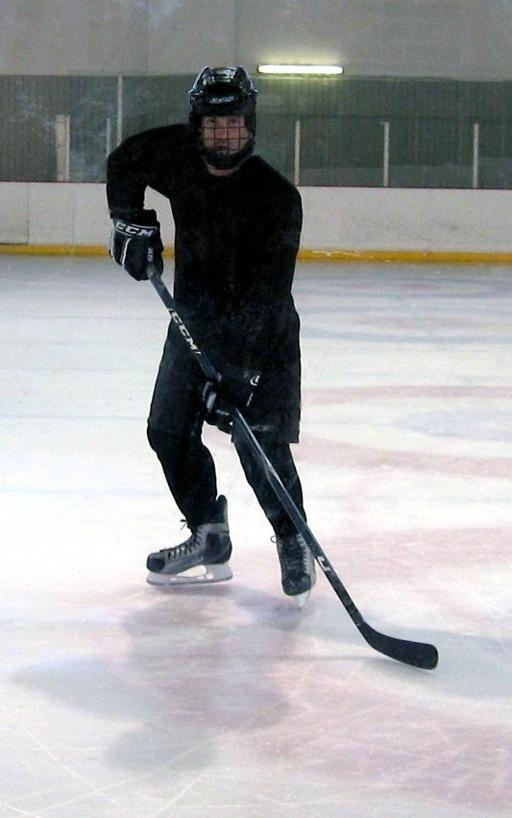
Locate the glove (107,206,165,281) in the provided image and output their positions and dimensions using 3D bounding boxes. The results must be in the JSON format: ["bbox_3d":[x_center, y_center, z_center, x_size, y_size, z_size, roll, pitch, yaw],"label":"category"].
[{"bbox_3d":[-0.235,-0.316,1.770,0.112,0.130,0.054,-11,30,-13],"label":"glove"}]

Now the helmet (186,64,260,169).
[{"bbox_3d":[-0.060,-0.509,1.620,0.116,0.180,0.097,1,13,-3],"label":"helmet"}]

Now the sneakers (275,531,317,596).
[{"bbox_3d":[0.072,0.282,1.701,0.048,0.052,0.131,-24,25,11],"label":"sneakers"}]
